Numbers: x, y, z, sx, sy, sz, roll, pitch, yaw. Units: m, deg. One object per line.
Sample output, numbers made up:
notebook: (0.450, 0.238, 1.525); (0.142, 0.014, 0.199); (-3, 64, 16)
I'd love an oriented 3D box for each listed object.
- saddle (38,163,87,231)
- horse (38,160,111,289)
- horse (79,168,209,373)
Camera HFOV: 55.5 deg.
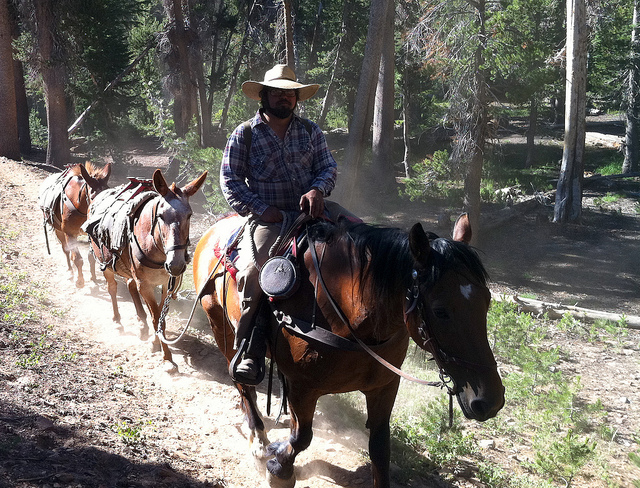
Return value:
saddle: (-6.803, -1.347, 16.268); (1.222, 2.329, 1.201); (-11, 20, -38)
horse: (-6.629, -0.523, 16.364); (1.326, 3.454, 4.553); (-9, 12, -35)
horse: (-3.687, 0.322, 12.522); (0.927, 4.004, 3.732); (-7, 14, -41)
